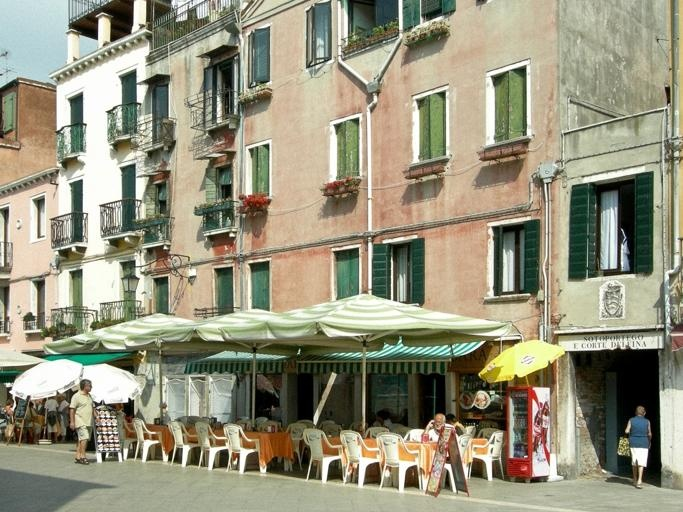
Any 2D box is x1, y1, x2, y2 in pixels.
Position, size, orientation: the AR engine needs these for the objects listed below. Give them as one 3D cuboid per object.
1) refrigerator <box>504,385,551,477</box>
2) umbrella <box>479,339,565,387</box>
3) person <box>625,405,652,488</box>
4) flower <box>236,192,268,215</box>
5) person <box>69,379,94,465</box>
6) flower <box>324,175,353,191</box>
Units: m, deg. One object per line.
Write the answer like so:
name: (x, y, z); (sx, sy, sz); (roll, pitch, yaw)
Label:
refrigerator: (4.827, 4.559, 40.237); (1.181, 2.423, 0.758); (-2, -11, 1)
umbrella: (4.713, 2.834, 40.813); (1.622, 1.266, 1.676); (-1, -3, -27)
person: (7.583, 4.828, 39.669); (0.743, 2.089, 0.605); (-3, -4, 39)
flower: (-2.716, -1.635, 48.461); (0.676, 0.581, 0.768); (-1, -1, 45)
person: (-6.988, 4.488, 42.251); (0.609, 2.303, 0.872); (-3, -5, 21)
flower: (-0.104, -2.136, 46.051); (0.262, 0.381, 1.173); (9, -16, -41)
